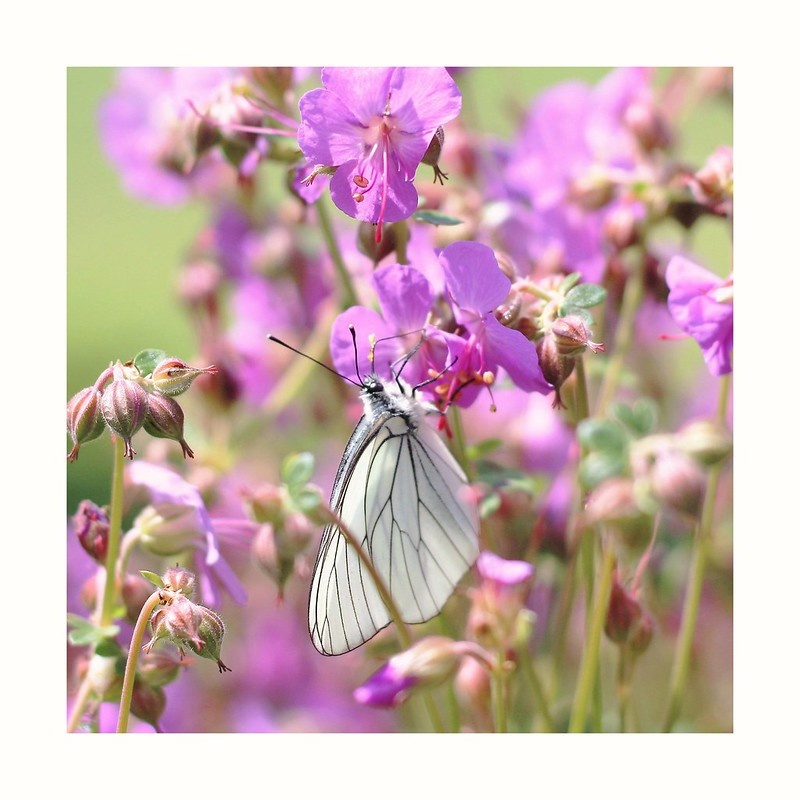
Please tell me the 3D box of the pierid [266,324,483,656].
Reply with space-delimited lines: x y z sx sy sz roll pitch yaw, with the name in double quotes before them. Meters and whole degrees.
"pierid" -0.012 0.100 1.182 0.199 0.368 0.139 -4 -4 -6
